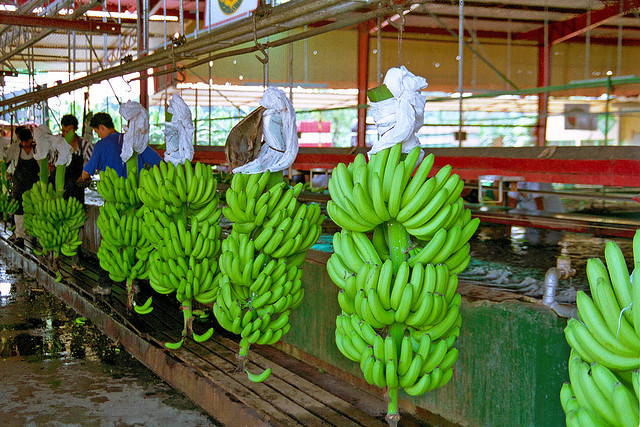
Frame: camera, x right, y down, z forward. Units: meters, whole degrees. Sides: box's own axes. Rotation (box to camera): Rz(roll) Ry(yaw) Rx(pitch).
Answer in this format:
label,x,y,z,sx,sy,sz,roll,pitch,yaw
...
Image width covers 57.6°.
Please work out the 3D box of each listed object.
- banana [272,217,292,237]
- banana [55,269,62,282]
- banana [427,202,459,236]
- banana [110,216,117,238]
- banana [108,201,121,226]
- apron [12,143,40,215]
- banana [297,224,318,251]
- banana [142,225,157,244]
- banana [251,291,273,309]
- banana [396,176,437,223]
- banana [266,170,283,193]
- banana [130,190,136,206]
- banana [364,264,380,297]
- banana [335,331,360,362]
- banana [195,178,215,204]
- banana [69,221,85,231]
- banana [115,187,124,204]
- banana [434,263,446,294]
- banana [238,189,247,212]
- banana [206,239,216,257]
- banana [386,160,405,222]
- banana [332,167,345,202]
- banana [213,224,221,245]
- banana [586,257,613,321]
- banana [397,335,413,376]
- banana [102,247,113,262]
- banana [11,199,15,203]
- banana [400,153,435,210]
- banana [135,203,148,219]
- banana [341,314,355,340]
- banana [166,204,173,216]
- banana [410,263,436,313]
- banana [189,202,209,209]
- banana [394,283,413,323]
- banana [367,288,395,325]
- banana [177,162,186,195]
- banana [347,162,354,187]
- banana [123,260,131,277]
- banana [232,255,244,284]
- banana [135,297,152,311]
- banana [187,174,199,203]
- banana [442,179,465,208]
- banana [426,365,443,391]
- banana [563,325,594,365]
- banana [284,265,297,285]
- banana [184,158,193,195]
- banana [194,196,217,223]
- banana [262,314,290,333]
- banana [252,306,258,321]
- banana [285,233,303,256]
label,x,y,z,sx,sy,sz,roll,pitch,yaw
banana,-0.303,0.097,4.998,0.063,0.235,0.076,38,-4,16
banana,-3.678,0.890,8.171,0.091,0.139,0.350,-3,9,-24
banana,0.904,0.051,4.237,0.066,0.252,0.083,24,21,-11
banana,-2.284,0.155,6.410,0.060,0.211,0.069,-23,-19,10
banana,-2.305,0.004,6.497,0.088,0.269,0.053,-35,-13,33
apron,-5.100,-0.665,10.015,0.532,1.051,0.199,5,9,27
banana,-0.094,0.218,5.217,0.084,0.322,0.112,23,-2,-22
banana,-1.759,0.217,5.961,0.077,0.181,0.273,-6,10,-36
banana,-0.503,0.755,5.115,0.076,0.255,0.090,38,25,-17
banana,0.694,-0.097,4.181,0.067,0.327,0.108,37,0,-4
banana,-0.408,-0.290,5.217,0.161,0.192,0.165,5,15,11
banana,-2.097,-0.173,6.518,0.070,0.180,0.095,2,8,8
banana,0.372,0.468,4.178,0.085,0.266,0.070,10,5,-33
banana,0.200,1.030,4.451,0.100,0.290,0.061,-17,-20,-22
banana,-1.168,-0.217,5.794,0.095,0.374,0.128,24,5,-25
banana,-3.485,0.218,8.330,0.320,0.085,0.066,-37,2,39
banana,-2.233,-0.216,6.466,0.073,0.209,0.048,-12,13,-27
banana,0.850,0.461,4.144,0.058,0.221,0.072,0,-4,-24
banana,-0.669,-0.107,5.009,0.048,0.182,0.062,-3,4,6
banana,-1.074,0.342,5.720,0.048,0.186,0.111,5,10,29
banana,0.549,-0.162,4.212,0.081,0.424,0.081,1,-7,36
banana,0.134,-0.223,4.398,0.072,0.290,0.059,-7,4,19
banana,-1.021,0.193,5.774,0.043,0.163,0.052,1,10,-40
banana,1.873,0.507,3.859,0.188,0.211,0.699,-25,-5,23
banana,0.606,1.028,4.232,0.073,0.313,0.102,15,12,25
banana,-2.413,0.450,6.581,0.066,0.219,0.064,-44,-24,24
banana,-5.790,-0.229,10.974,0.097,0.099,0.026,4,-3,26
banana,0.691,-0.233,4.249,0.117,0.183,0.566,34,11,30
banana,-1.938,-0.023,6.309,0.036,0.181,0.063,46,34,12
banana,0.202,0.845,4.373,0.065,0.206,0.055,-6,3,13
banana,-1.504,-0.029,5.797,0.061,0.120,0.061,-2,9,-17
banana,0.719,0.502,4.175,0.086,0.435,0.148,15,-7,1
banana,-1.202,-0.085,5.837,0.085,0.054,0.243,-3,3,-40
banana,0.598,0.648,4.138,0.085,0.306,0.100,14,9,-10
banana,0.427,0.672,4.173,0.084,0.208,0.361,-7,-39,22
banana,-1.388,-0.343,5.703,0.061,0.268,0.086,-11,-8,-25
banana,0.232,-0.317,4.472,0.054,0.170,0.045,7,-35,-16
banana,-2.146,0.614,6.451,0.048,0.182,0.051,-23,27,-31
banana,-0.722,0.491,5.054,0.080,0.234,0.068,-4,10,-29
banana,-2.034,1.042,6.690,0.221,0.070,0.146,-30,-29,23
banana,-1.254,-0.225,5.746,0.067,0.328,0.112,10,7,-23
banana,0.958,-0.146,4.229,0.050,0.226,0.075,24,-4,-12
banana,0.837,1.241,4.306,0.069,0.240,0.082,1,14,-30
banana,1.684,0.859,3.762,0.101,0.296,0.076,-29,12,-20
banana,-0.267,0.545,5.172,0.046,0.178,0.057,25,-22,-2
banana,-1.298,-0.366,5.744,0.111,0.345,0.069,1,4,-6
banana,-1.151,-0.037,5.846,0.091,0.265,0.061,40,-7,37
banana,-0.404,0.999,5.244,0.308,0.082,0.110,-38,16,16
banana,-0.581,0.892,5.161,0.040,0.124,0.036,-13,30,-14
banana,-0.215,0.256,5.080,0.072,0.260,0.090,17,23,-25
